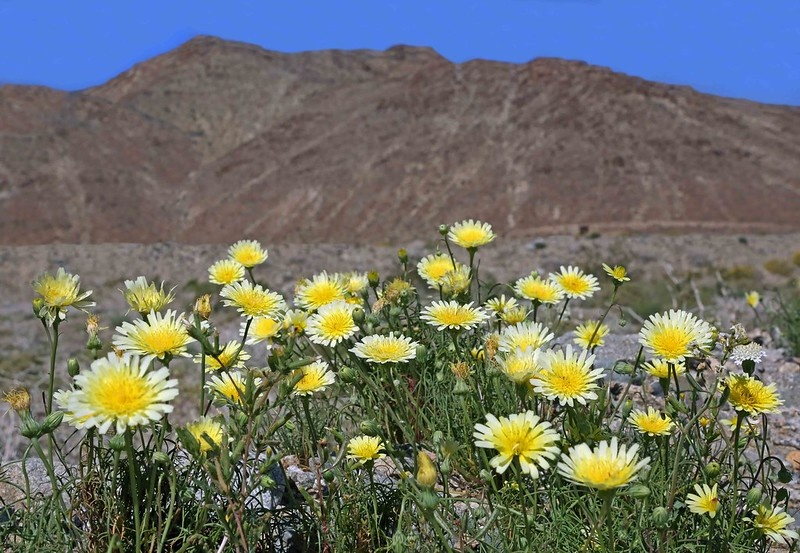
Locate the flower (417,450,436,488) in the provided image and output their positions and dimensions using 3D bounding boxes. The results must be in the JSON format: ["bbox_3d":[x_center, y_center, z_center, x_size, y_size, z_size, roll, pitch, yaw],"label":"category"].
[{"bbox_3d":[0.315,2.351,13.158,0.201,0.435,0.207,-14,-3,-12],"label":"flower"}]

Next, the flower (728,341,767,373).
[{"bbox_3d":[4.395,0.976,13.749,0.346,0.430,0.385,-4,0,13],"label":"flower"}]

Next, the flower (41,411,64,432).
[{"bbox_3d":[-4.227,1.750,13.380,0.140,0.156,0.365,27,36,20],"label":"flower"}]
